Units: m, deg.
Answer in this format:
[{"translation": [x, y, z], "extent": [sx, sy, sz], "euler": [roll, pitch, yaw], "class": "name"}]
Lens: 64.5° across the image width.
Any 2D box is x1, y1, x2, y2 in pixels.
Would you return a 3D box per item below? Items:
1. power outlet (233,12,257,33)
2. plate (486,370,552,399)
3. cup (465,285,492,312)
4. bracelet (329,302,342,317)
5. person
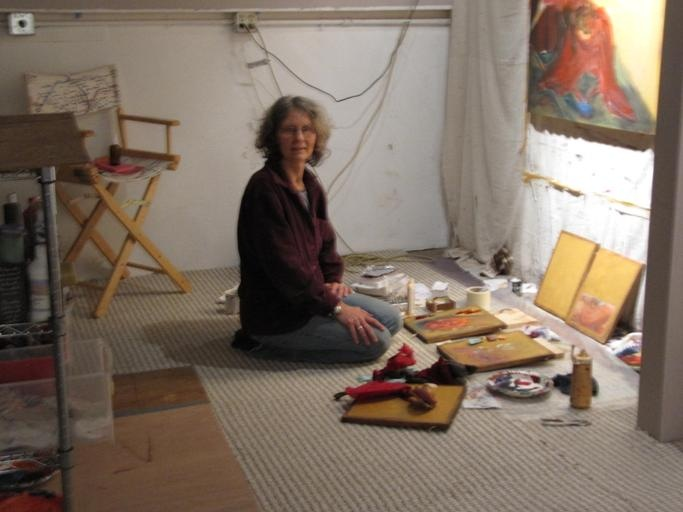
[{"translation": [-0.766, -1.959, 4.361], "extent": [0.171, 0.156, 0.050], "euler": [-4, 18, -16], "class": "power outlet"}, {"translation": [0.873, 0.642, 2.708], "extent": [0.197, 0.049, 0.144], "euler": [0, 12, 3], "class": "plate"}, {"translation": [0.944, 0.272, 3.733], "extent": [0.168, 0.111, 0.160], "euler": [0, 5, 0], "class": "cup"}, {"translation": [-0.031, 0.288, 2.982], "extent": [0.066, 0.073, 0.080], "euler": [0, 2, 3], "class": "bracelet"}, {"translation": [-0.180, -0.172, 3.071], "extent": [0.918, 1.492, 0.531], "euler": [2, 17, 4], "class": "person"}]
